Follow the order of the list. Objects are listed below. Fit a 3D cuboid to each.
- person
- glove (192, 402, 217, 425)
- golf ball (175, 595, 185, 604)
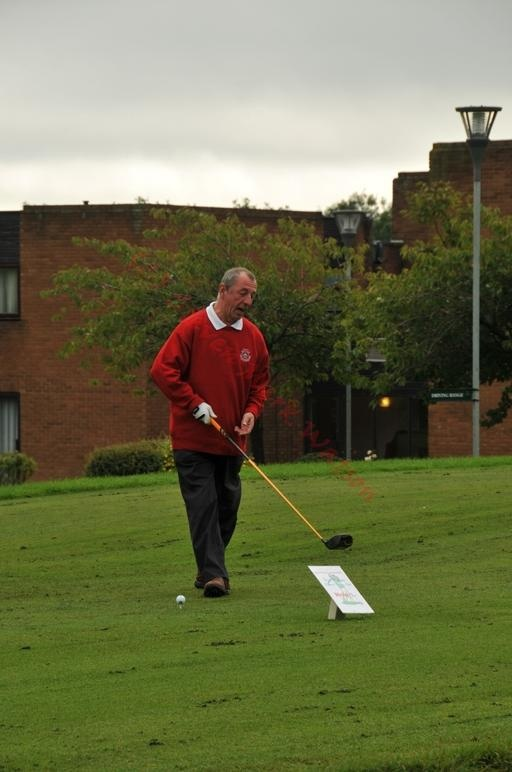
[{"bbox_3d":[-0.281,0.221,8.993,0.573,1.689,0.974,-1,4,13],"label":"person"},{"bbox_3d":[-0.277,0.152,8.868,0.088,0.123,0.044,-36,6,12],"label":"glove"},{"bbox_3d":[-0.366,1.063,8.190,0.043,0.056,0.043,2,4,0],"label":"golf ball"}]
